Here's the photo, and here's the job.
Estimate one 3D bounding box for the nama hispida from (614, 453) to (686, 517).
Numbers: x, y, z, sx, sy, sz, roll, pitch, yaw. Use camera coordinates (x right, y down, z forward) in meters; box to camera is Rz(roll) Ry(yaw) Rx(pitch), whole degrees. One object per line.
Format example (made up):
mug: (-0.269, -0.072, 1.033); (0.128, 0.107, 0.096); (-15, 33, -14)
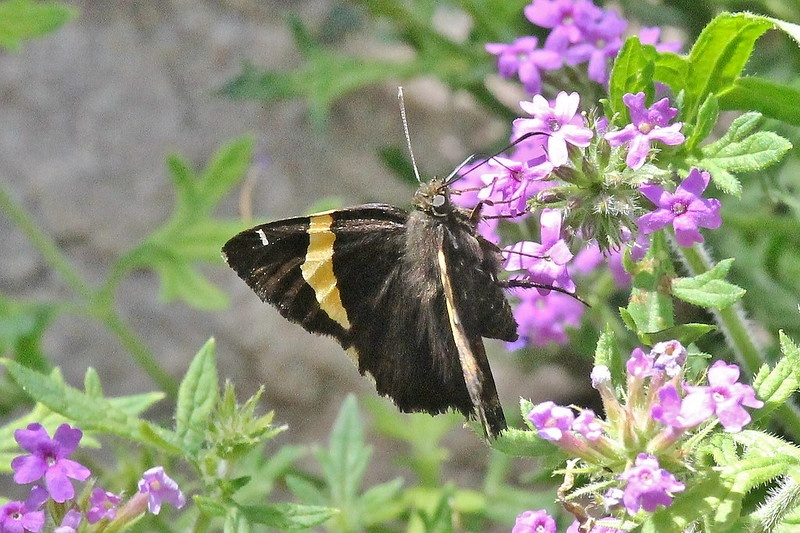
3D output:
nama hispida: (1.115, 0.966, 4.420); (0.236, 0.233, 0.270); (5, 95, 20)

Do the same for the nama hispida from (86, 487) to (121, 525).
nama hispida: (-1.467, 1.187, 4.918); (0.143, 0.101, 0.173); (7, 80, 2)

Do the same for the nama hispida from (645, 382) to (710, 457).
nama hispida: (1.257, 0.687, 4.497); (0.219, 0.214, 0.352); (3, 99, 7)

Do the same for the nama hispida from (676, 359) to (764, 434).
nama hispida: (1.466, 0.591, 4.512); (0.313, 0.079, 0.320); (36, 78, 21)

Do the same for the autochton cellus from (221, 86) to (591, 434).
autochton cellus: (0.025, 0.083, 5.186); (1.656, 0.717, 1.069); (35, 82, 6)

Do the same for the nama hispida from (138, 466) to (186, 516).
nama hispida: (-1.174, 1.084, 4.885); (0.239, 0.168, 0.249); (-23, 68, -3)
